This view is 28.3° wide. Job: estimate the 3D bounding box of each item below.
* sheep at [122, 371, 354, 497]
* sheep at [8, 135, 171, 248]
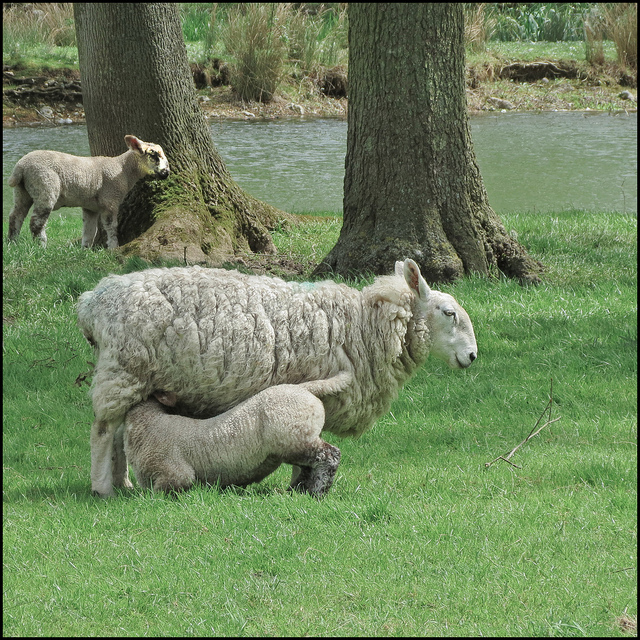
[{"bbox_3d":[-0.634,0.883,9.638,1.862,1.205,0.710,-3,-9,7],"label":"sheep"},{"bbox_3d":[-2.685,-1.525,14.719,1.975,1.738,0.988,-4,12,-15],"label":"sheep"}]
